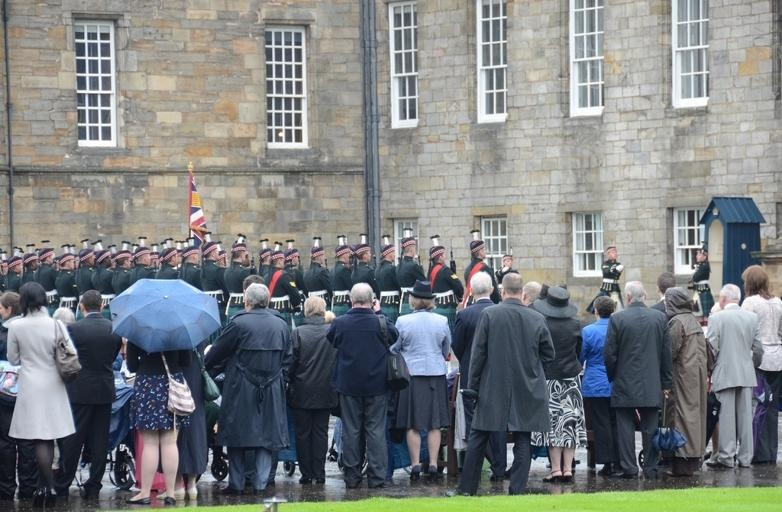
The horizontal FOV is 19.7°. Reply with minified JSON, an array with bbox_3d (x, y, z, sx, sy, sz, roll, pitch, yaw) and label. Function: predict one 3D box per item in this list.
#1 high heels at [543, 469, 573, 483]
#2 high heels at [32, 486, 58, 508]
[{"bbox_3d":[2.792,3.678,37.991,0.479,0.158,0.171,6,7,34],"label":"high heels"},{"bbox_3d":[-5.638,3.904,37.070,0.165,0.377,0.227,-7,-42,35],"label":"high heels"}]
